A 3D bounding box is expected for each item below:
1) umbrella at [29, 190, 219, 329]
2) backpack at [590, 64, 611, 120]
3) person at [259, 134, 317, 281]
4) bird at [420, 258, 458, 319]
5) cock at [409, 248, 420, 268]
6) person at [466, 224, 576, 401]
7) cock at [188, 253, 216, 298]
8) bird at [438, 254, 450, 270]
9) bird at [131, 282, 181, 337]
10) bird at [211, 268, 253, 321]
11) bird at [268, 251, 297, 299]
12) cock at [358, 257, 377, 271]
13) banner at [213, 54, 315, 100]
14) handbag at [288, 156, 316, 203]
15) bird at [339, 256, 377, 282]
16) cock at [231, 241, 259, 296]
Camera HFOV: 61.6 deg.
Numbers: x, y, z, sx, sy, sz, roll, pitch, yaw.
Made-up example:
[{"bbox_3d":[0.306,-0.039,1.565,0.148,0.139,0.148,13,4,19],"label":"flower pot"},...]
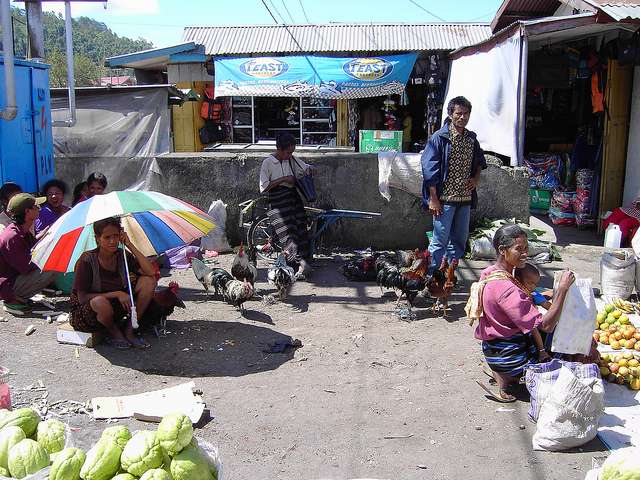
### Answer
[{"bbox_3d":[-2.066,-0.128,5.744,1.640,1.306,1.668,-5,-8,-15],"label":"umbrella"},{"bbox_3d":[5.265,-2.762,10.056,0.242,1.002,0.615,3,11,14],"label":"backpack"},{"bbox_3d":[-0.487,-0.492,8.028,0.797,2.135,0.739,0,10,1],"label":"person"},{"bbox_3d":[1.509,0.572,6.828,0.423,0.700,0.604,3,11,13],"label":"bird"},{"bbox_3d":[1.209,0.222,6.834,0.099,0.255,0.077,17,6,23],"label":"cock"},{"bbox_3d":[1.946,0.682,5.109,0.922,1.547,0.938,3,13,37],"label":"person"},{"bbox_3d":[-1.651,0.505,7.350,0.233,0.552,0.807,-7,13,-35],"label":"cock"},{"bbox_3d":[1.576,0.280,6.849,0.094,0.166,0.242,-2,-5,-5],"label":"bird"},{"bbox_3d":[-1.873,0.762,6.211,0.561,0.680,0.325,12,18,21],"label":"bird"},{"bbox_3d":[-1.098,0.652,6.888,0.249,0.564,0.755,-26,35,-32],"label":"bird"},{"bbox_3d":[-0.523,0.471,7.227,0.339,0.557,0.726,-1,6,-4],"label":"bird"},{"bbox_3d":[0.709,0.362,8.141,0.185,0.080,0.189,9,35,40],"label":"cock"},{"bbox_3d":[-1.444,-4.320,14.105,2.602,0.999,0.525,0,10,1],"label":"banner"},{"bbox_3d":[-0.292,-0.962,8.254,0.292,0.851,0.183,-15,-22,-26],"label":"handbag"},{"bbox_3d":[0.570,0.436,8.146,0.533,0.313,0.354,1,11,1],"label":"bird"},{"bbox_3d":[-1.013,0.384,7.345,0.328,0.713,0.826,4,8,9],"label":"cock"}]
